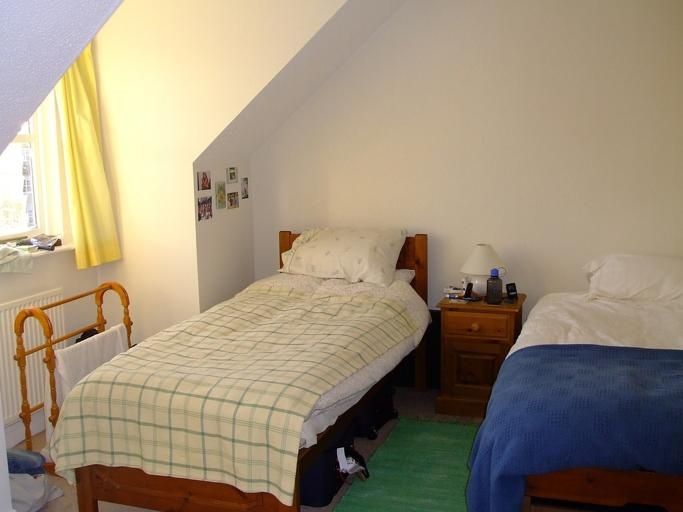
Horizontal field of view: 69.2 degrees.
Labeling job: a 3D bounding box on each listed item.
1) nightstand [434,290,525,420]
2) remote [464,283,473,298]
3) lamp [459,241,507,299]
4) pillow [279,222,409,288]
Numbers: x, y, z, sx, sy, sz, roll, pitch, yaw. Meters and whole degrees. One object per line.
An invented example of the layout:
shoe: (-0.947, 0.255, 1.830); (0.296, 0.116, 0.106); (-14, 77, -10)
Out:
nightstand: (1.018, 0.718, 3.791); (0.556, 0.808, 0.525); (2, 12, 17)
remote: (0.959, 0.271, 3.747); (0.053, 0.137, 0.044); (13, -4, 21)
lamp: (1.093, 0.106, 3.816); (0.334, 0.398, 0.341); (3, 12, 32)
pillow: (-0.004, 0.011, 3.940); (0.633, 0.165, 0.603); (-1, 46, 29)
